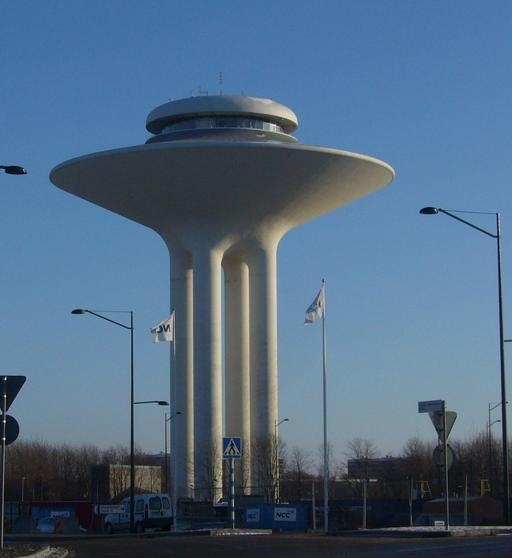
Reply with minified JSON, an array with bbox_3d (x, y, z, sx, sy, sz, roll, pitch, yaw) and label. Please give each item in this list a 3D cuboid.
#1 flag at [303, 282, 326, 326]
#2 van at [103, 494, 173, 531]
[{"bbox_3d":[2.508,0.694,62.633,0.696,0.267,2.270,-1,-50,-13],"label":"flag"},{"bbox_3d":[-4.590,9.453,63.240,1.510,1.551,2.530,7,-7,-42],"label":"van"}]
